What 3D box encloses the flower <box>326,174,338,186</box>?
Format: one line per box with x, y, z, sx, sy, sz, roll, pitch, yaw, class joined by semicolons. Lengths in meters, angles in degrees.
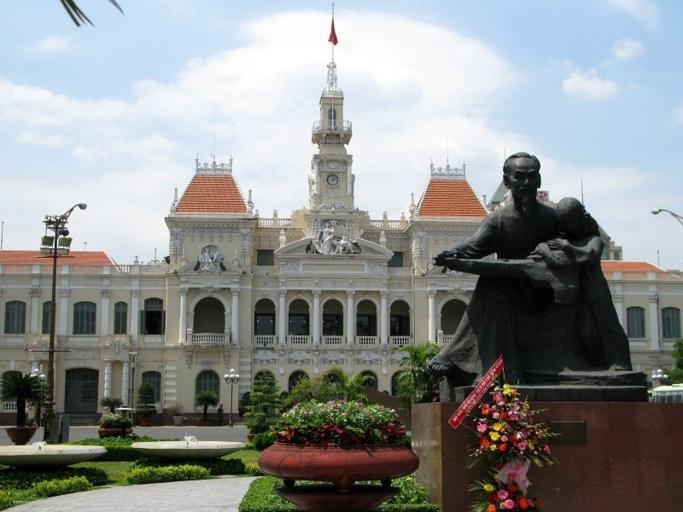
-0.561;-4.097;60.712;0.655;0.545;0.160;3;-7;-5;flower

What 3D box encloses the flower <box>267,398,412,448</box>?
0.092;2.922;19.510;1.762;0.549;1.608;2;0;-7;flower

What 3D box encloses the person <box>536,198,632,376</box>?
4.323;0.511;19.821;1.353;3.101;0.670;9;-16;-40;person

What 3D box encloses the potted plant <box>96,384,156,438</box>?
-9.288;6.805;48.413;2.859;2.809;2.757;-4;-8;11;potted plant
